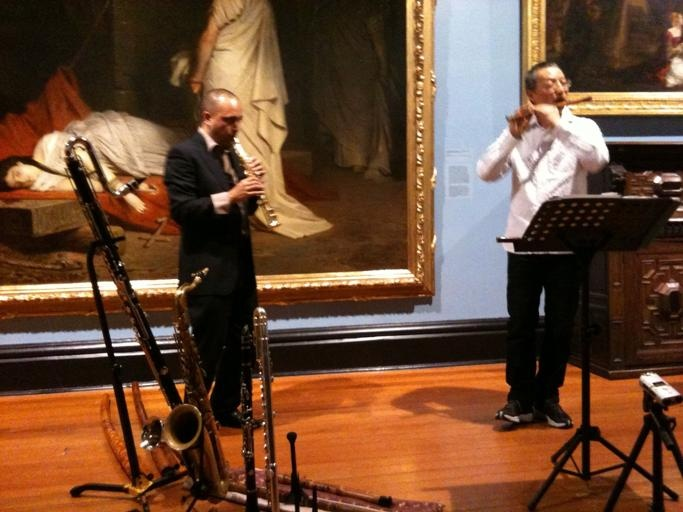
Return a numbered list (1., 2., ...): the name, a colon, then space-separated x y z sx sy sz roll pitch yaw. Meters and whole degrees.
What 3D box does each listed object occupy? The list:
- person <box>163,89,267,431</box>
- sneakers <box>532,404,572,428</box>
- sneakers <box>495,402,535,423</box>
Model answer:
1. person: -0.881 0.065 4.524 0.692 2.326 0.660 0 11 -33
2. sneakers: 1.441 1.096 4.511 0.108 0.116 0.290 2 -3 -28
3. sneakers: 1.182 1.072 4.514 0.284 0.136 0.120 7 -8 -29
